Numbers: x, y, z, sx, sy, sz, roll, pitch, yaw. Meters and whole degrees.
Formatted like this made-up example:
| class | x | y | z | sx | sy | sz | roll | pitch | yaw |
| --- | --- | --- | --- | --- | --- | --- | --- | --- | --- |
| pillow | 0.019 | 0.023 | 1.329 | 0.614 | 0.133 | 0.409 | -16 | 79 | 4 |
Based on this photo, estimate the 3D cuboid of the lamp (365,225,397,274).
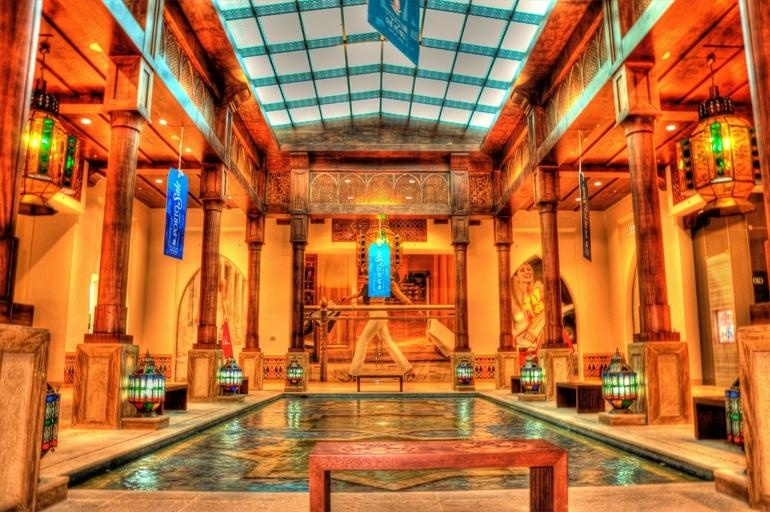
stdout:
| class | x | y | z | sx | sy | sz | roll | pitch | yaw |
| --- | --- | --- | --- | --- | --- | --- | --- | --- | --- |
| lamp | -0.087 | -0.321 | 15.978 | 1.158 | 1.503 | 0.566 | 1 | -14 | -2 |

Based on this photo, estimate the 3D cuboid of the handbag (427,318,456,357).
| class | x | y | z | sx | sy | sz | roll | pitch | yaw |
| --- | --- | --- | --- | --- | --- | --- | --- | --- | --- |
| handbag | 2.211 | 3.274 | 21.001 | 1.126 | 1.506 | 0.970 | -4 | -14 | 16 |
